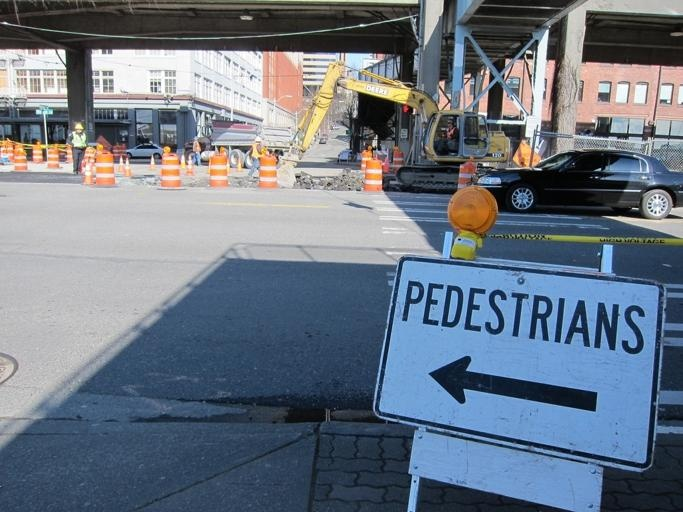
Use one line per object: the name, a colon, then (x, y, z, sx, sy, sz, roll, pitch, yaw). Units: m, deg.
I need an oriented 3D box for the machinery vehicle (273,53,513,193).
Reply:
machinery vehicle: (1.896, -4.650, 23.611, 8.088, 4.281, 2.891, 2, 12, 1)

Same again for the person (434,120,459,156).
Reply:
person: (3.646, -4.100, 22.683, 0.800, 1.230, 0.559, 5, 11, 6)

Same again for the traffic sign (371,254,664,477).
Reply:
traffic sign: (0.954, 0.613, 3.550, 1.373, 0.914, 0.062, 10, -3, 12)
